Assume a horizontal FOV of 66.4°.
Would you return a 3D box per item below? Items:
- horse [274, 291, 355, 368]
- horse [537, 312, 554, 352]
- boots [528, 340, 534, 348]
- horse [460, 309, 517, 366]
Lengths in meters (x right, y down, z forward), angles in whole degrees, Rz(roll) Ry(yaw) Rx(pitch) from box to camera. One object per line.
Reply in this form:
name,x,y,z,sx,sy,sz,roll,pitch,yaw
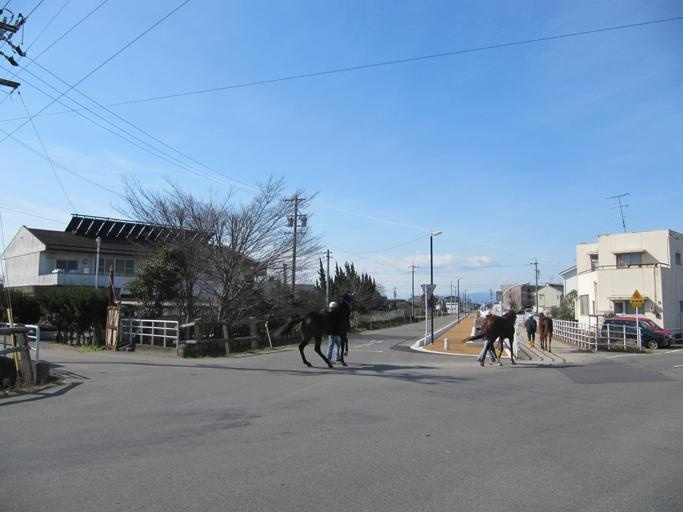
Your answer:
horse,-0.618,2.487,17.320,2.974,2.437,0.738,-5,-5,-21
horse,9.433,3.489,24.148,0.504,1.785,2.150,0,-2,21
boots,10.424,4.787,28.717,0.318,0.376,0.576,-3,-14,10
horse,5.523,2.805,18.732,2.797,2.038,0.661,2,-1,-33
